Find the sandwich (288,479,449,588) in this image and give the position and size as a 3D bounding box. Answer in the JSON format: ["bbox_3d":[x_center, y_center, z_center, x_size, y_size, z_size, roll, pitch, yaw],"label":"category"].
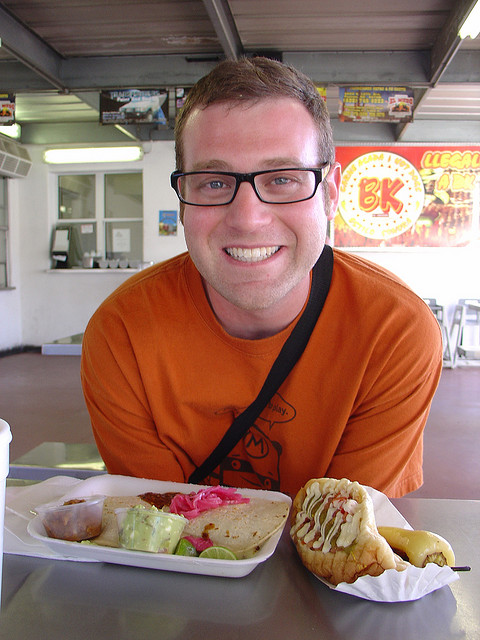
[{"bbox_3d":[0.168,0.297,0.751,0.061,0.116,0.152,-43,28,-24],"label":"sandwich"}]

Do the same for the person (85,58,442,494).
[{"bbox_3d":[0.044,-0.096,1.290,0.855,1.032,0.386,1,3,15],"label":"person"}]
